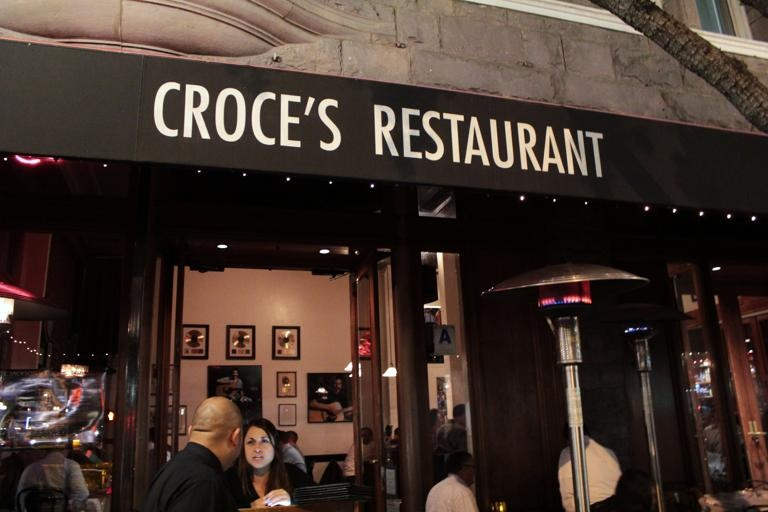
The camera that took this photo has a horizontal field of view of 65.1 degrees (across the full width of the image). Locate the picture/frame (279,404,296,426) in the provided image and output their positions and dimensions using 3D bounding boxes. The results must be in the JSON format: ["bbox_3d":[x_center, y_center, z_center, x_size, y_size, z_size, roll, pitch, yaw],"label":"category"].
[{"bbox_3d":[-1.613,2.624,9.904,0.332,0.395,0.038,4,-25,-15],"label":"picture/frame"}]

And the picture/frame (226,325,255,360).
[{"bbox_3d":[-2.409,1.446,9.942,0.557,0.647,0.046,2,-15,-17],"label":"picture/frame"}]

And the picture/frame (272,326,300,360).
[{"bbox_3d":[-1.696,1.491,10.174,0.567,0.625,0.048,0,-11,-13],"label":"picture/frame"}]
